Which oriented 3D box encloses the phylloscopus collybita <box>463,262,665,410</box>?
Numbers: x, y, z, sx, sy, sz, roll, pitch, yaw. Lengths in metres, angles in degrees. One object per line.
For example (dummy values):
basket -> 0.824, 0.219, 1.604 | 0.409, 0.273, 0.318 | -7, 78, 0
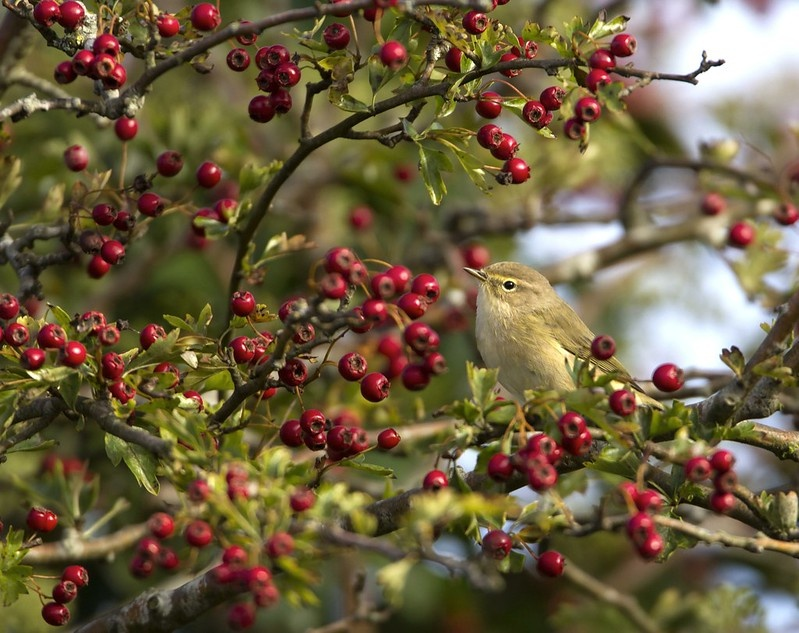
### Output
phylloscopus collybita -> 1.368, 0.235, 9.207 | 2.237, 0.805, 1.183 | 12, -89, -28
